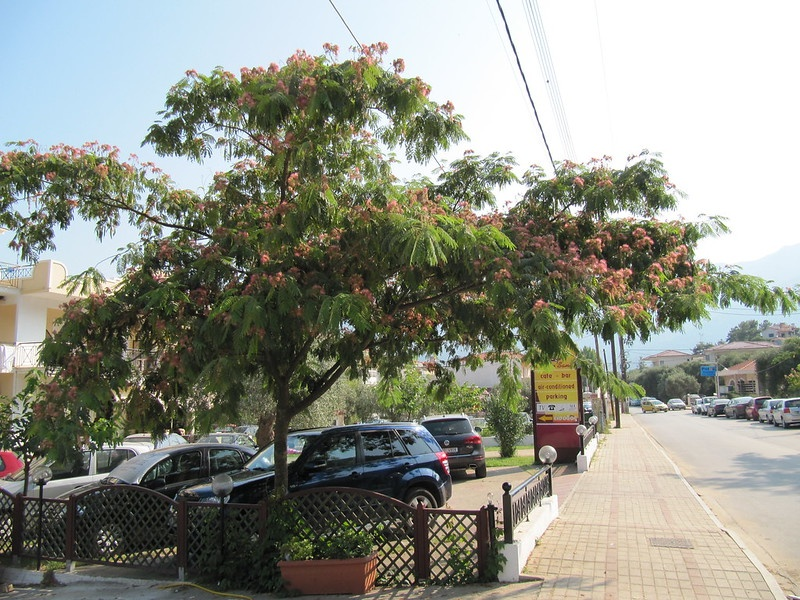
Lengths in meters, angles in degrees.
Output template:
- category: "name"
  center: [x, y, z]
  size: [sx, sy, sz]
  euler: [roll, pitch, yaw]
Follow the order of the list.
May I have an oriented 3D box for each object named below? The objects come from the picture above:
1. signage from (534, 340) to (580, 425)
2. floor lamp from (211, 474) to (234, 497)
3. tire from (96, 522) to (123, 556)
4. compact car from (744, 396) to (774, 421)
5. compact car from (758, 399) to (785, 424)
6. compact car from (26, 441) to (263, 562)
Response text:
- category: "signage"
  center: [4.850, 2.954, 19.558]
  size: [1.478, 2.766, 0.271]
  euler: [-2, -40, 16]
- category: "floor lamp"
  center: [-2.729, 2.850, 9.671]
  size: [0.261, 0.348, 0.396]
  euler: [-1, -10, -12]
- category: "tire"
  center: [-4.618, 3.804, 10.033]
  size: [0.504, 0.489, 0.133]
  euler: [-6, -10, 19]
- category: "compact car"
  center: [23.974, 7.243, 42.049]
  size: [1.607, 1.524, 2.891]
  euler: [-2, -3, 8]
- category: "compact car"
  center: [21.754, 6.483, 37.003]
  size: [1.233, 1.120, 2.191]
  euler: [-1, -3, 6]
- category: "compact car"
  center: [-4.716, 3.578, 11.749]
  size: [2.761, 1.567, 4.068]
  euler: [-3, -10, 2]
